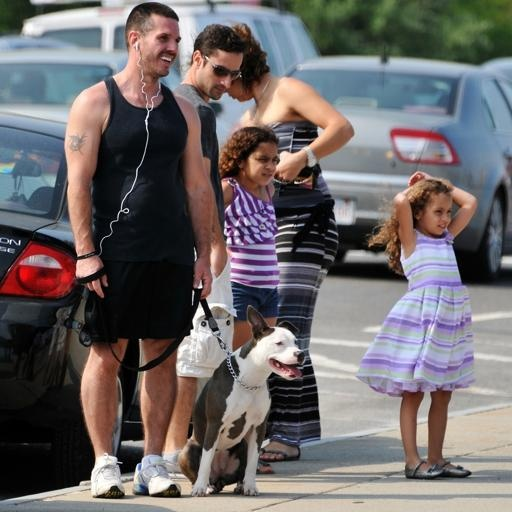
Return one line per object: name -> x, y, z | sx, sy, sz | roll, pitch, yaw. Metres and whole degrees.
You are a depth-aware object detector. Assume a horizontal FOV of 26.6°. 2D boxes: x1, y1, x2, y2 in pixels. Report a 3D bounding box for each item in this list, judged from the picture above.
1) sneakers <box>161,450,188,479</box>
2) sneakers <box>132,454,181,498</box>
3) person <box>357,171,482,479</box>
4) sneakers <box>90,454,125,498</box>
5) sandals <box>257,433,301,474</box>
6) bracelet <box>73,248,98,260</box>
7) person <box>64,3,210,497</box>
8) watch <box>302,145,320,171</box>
sneakers -> -0.368, 0.935, 4.860 | 0.153, 0.144, 0.105 | 1, -10, -13
sneakers -> -0.400, 0.918, 4.512 | 0.145, 0.157, 0.368 | 3, -9, -25
person -> 0.795, 0.318, 4.981 | 0.526, 1.289, 0.594 | 5, 11, 23
sneakers -> -0.604, 0.899, 4.442 | 0.137, 0.175, 0.184 | -1, 10, -8
sandals -> 0.112, 0.946, 5.149 | 0.158, 0.193, 0.453 | 0, -16, 3
bracelet -> -0.670, -0.002, 4.337 | 0.075, 0.038, 0.032 | -2, 10, -14
person -> -0.477, -0.024, 4.479 | 0.589, 2.016, 0.570 | 0, 10, -3
watch -> 0.270, -0.484, 5.406 | 0.076, 0.103, 0.112 | -5, 14, 0
